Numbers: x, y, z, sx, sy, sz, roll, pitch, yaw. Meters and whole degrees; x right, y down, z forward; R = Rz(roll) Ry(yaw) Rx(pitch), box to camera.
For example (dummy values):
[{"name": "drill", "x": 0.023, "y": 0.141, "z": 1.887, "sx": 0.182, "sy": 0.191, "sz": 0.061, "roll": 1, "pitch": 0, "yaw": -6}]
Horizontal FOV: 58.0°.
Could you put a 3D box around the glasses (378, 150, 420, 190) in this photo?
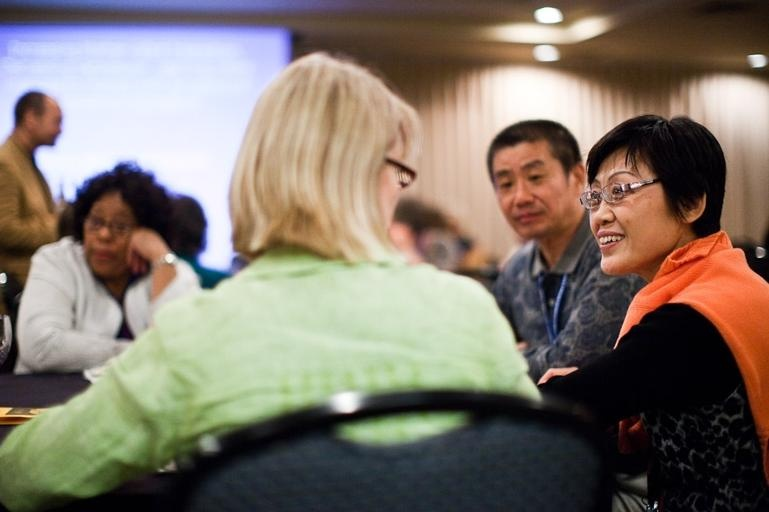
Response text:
[{"name": "glasses", "x": 0.034, "y": -0.191, "z": 1.580, "sx": 0.070, "sy": 0.027, "sz": 0.068, "roll": 16, "pitch": 27, "yaw": -52}]
